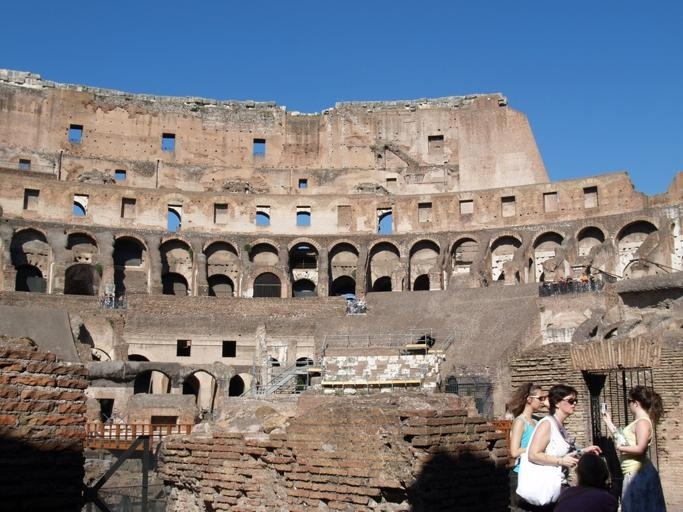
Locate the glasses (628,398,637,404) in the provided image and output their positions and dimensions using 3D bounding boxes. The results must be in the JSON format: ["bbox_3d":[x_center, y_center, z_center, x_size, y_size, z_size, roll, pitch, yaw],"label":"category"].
[{"bbox_3d":[4.963,2.485,17.233,0.110,0.066,0.086,-6,-13,22],"label":"glasses"}]

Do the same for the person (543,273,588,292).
[{"bbox_3d":[7.747,1.062,34.852,1.781,0.592,0.301,-10,-19,32],"label":"person"}]

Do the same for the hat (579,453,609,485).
[{"bbox_3d":[3.941,3.402,15.851,0.396,0.512,0.528,0,22,9],"label":"hat"}]
